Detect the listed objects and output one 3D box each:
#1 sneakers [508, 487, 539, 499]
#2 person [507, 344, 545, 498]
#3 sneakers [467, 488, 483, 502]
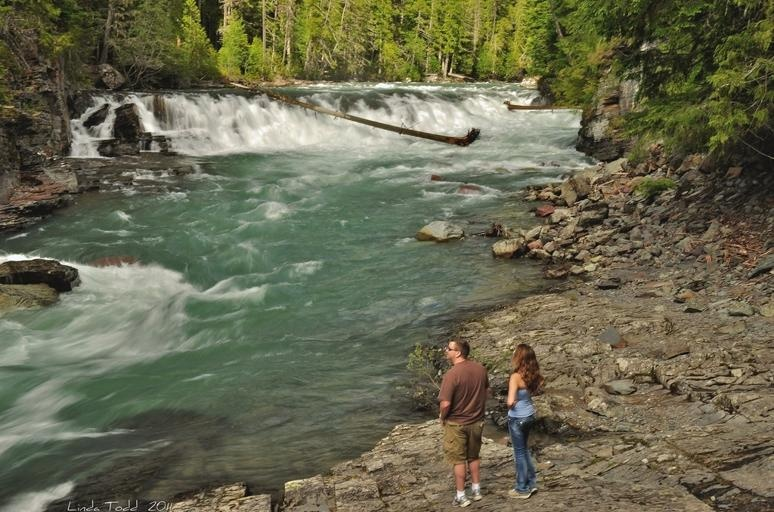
[{"bbox_3d":[2.619,4.551,11.409,0.600,0.168,0.200,0,6,13],"label":"sneakers"},{"bbox_3d":[2.687,3.175,11.376,0.816,2.869,1.394,7,25,10],"label":"person"},{"bbox_3d":[1.782,4.684,11.551,0.189,0.113,0.321,-2,-2,4],"label":"sneakers"}]
